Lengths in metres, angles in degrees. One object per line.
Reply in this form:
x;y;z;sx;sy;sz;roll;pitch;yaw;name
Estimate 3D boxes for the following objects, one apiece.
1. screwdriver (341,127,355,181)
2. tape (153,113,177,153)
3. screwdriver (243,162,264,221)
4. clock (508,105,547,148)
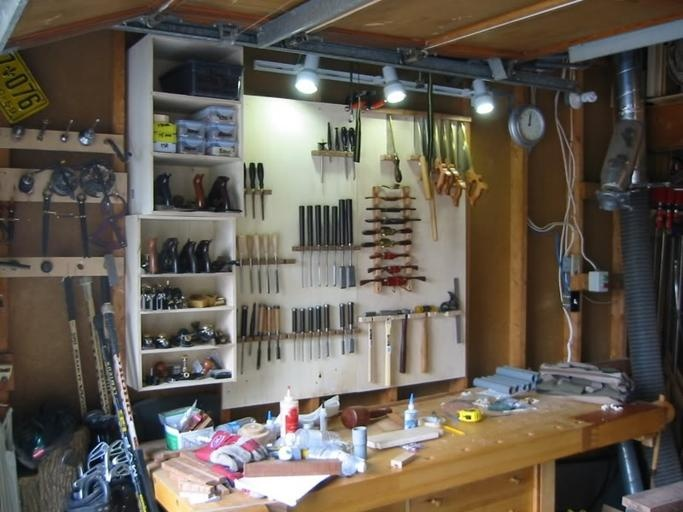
0.060;-0.846;4.931;0.114;0.353;0.084;-2;1;-12;screwdriver
-1.188;-0.822;4.018;0.194;0.241;0.219;0;2;-2;tape
-0.670;-0.502;4.624;0.153;0.396;0.092;-2;1;-8;screwdriver
1.651;-1.144;5.220;0.107;0.354;0.336;-13;7;-30;clock
